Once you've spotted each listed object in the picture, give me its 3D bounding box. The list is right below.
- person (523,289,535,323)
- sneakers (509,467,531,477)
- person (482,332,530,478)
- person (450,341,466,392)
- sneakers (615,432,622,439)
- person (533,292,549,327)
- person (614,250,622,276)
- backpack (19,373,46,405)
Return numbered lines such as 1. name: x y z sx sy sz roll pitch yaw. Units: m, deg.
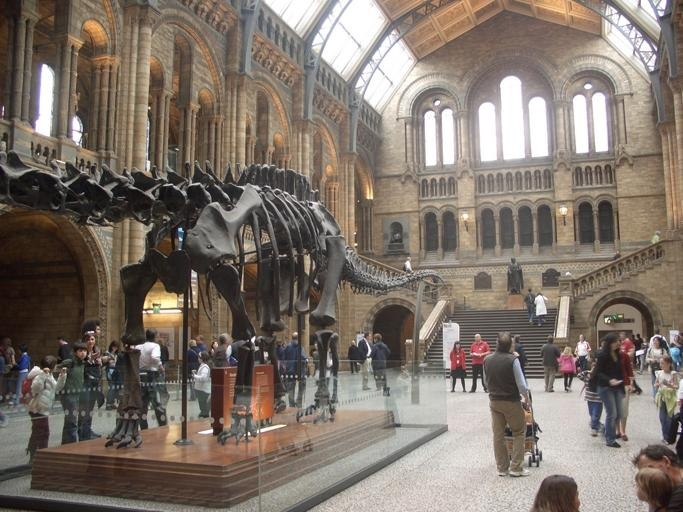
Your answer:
1. person: 8.186 2.164 26.653 0.402 1.420 1.766 4 1 18
2. sneakers: 2.388 2.875 8.212 0.296 0.129 0.109 4 -6 -15
3. person: 2.188 1.971 8.140 0.633 1.926 0.339 4 1 18
4. person: 3.388 3.222 17.807 0.503 1.467 1.248 4 1 11
5. sneakers: 4.623 3.002 10.292 0.072 0.082 0.205 3 -5 6
6. person: 8.406 2.243 25.930 0.565 1.411 1.259 4 1 18
7. person: 12.255 0.339 27.254 0.321 1.081 0.299 12 -6 -40
8. backpack: -3.709 1.608 7.391 0.233 0.334 0.168 30 -7 -39
